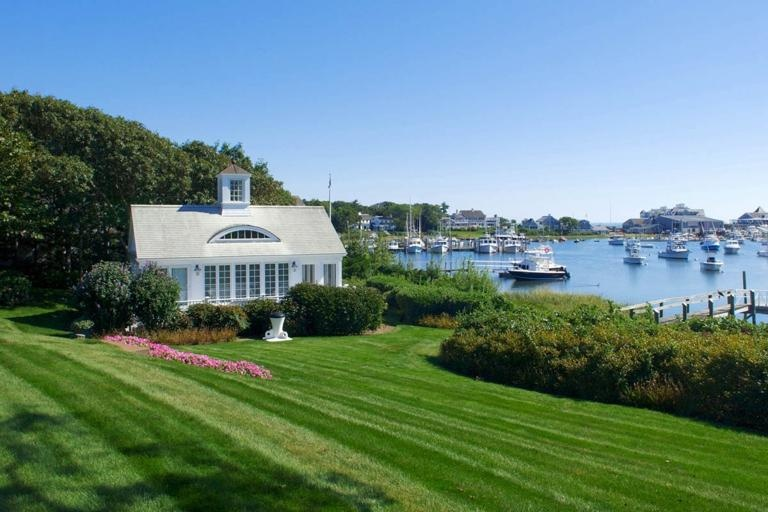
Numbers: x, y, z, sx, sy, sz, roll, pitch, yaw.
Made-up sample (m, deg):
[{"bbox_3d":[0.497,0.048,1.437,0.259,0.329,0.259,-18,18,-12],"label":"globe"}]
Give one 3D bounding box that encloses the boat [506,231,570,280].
[{"bbox_3d":[18.786,0.921,90.062,9.200,4.338,3.430,2,5,-14],"label":"boat"}]
